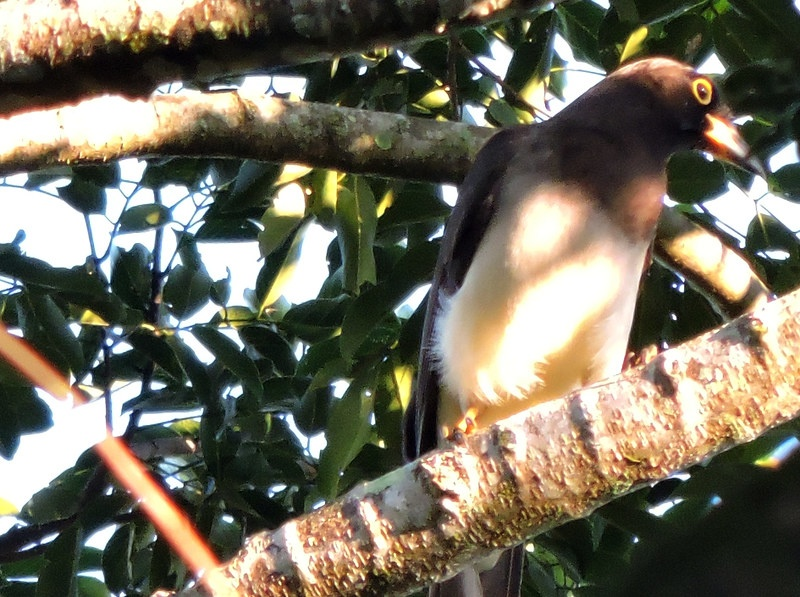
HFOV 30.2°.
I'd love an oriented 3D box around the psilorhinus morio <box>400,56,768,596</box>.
[{"bbox_3d":[0.663,0.166,6.359,1.169,2.378,1.756,-2,-1,6],"label":"psilorhinus morio"}]
